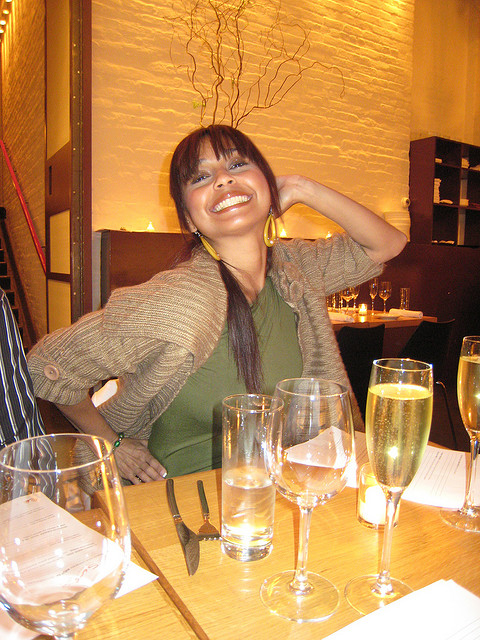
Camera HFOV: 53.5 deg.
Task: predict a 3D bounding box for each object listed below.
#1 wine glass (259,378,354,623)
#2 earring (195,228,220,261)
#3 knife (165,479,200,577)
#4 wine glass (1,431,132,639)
[{"bbox_3d":[0.080,0.177,0.536,0.087,0.227,0.208,4,8,14],"label":"wine glass"},{"bbox_3d":[-0.093,-0.223,1.423,0.030,0.120,0.017,-21,-20,-24],"label":"earring"},{"bbox_3d":[-0.075,0.265,0.630,0.026,0.015,0.226,0,8,-16],"label":"knife"},{"bbox_3d":[-0.120,0.149,0.326,0.071,0.112,0.082,9,10,42],"label":"wine glass"}]
